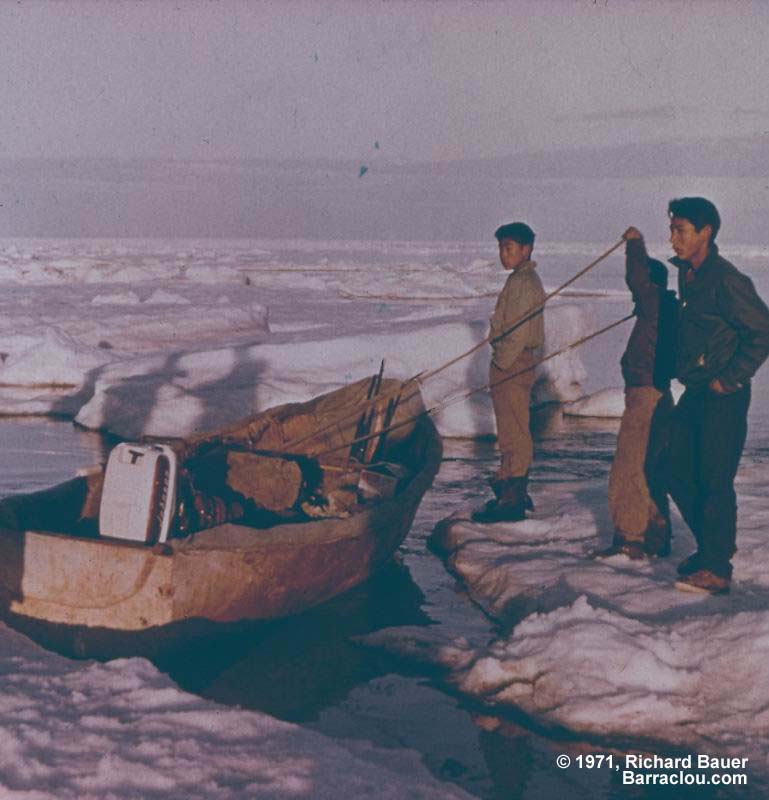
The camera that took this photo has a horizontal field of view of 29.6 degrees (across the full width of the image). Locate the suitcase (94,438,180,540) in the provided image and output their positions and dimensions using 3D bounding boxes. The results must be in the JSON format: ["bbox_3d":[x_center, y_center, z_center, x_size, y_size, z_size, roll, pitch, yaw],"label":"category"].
[{"bbox_3d":[-1.232,0.462,7.274,0.380,0.421,0.203,2,0,-8],"label":"suitcase"}]

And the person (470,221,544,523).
[{"bbox_3d":[0.772,-0.136,8.775,0.324,1.668,0.574,2,0,4],"label":"person"}]
